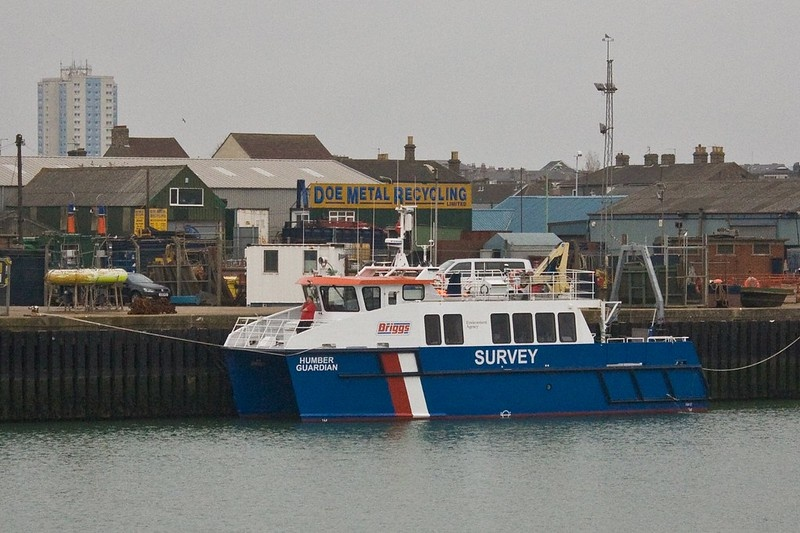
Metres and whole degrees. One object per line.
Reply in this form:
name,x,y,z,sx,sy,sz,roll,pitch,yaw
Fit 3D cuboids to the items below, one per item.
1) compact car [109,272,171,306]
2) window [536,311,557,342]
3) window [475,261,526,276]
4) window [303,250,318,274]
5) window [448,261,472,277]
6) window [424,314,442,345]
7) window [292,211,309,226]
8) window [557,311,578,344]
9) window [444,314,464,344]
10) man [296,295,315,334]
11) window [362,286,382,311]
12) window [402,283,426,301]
compact car,-9.737,0.744,79.500,1.705,1.218,1.851,-2,-4,2
window,5.056,2.066,72.102,1.015,1.410,0.137,-1,1,-4
window,3.983,-0.063,80.928,1.522,0.752,0.946,-1,6,1
window,-3.516,-0.225,81.315,0.887,1.408,0.116,2,-4,-40
window,2.363,0.061,83.068,0.854,0.459,0.529,-2,5,-23
window,1.141,2.152,71.605,0.562,1.026,0.115,-1,-5,-18
window,-4.892,-2.478,100.035,1.035,1.029,0.719,0,-1,-1
window,5.810,2.095,72.243,1.014,1.474,0.147,3,-9,-18
window,1.834,2.147,71.698,0.967,1.370,0.141,-1,-2,-10
man,-3.155,1.506,72.888,0.729,0.826,2.313,6,5,4
window,-0.977,1.038,72.003,0.813,1.139,0.062,-1,-1,-10
window,0.459,0.888,72.113,0.904,0.657,0.496,0,4,1
